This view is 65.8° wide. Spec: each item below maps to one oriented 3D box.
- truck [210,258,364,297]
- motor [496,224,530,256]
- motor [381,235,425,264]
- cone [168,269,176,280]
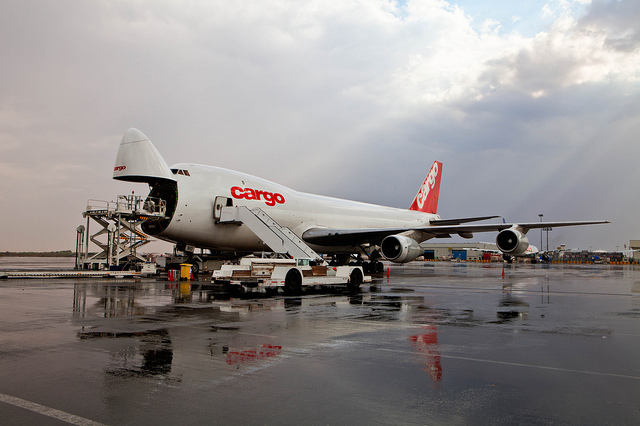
[{"bbox_3d":[-1.098,2.688,21.360,6.331,1.149,2.380,4,-6,-40],"label":"truck"},{"bbox_3d":[12.985,1.699,31.633,4.207,1.740,1.747,0,-3,-43],"label":"motor"},{"bbox_3d":[4.928,2.056,28.822,1.635,1.557,2.989,-3,-6,43],"label":"motor"},{"bbox_3d":[-8.045,3.383,26.841,0.235,0.513,0.984,2,-5,-16],"label":"cone"}]
